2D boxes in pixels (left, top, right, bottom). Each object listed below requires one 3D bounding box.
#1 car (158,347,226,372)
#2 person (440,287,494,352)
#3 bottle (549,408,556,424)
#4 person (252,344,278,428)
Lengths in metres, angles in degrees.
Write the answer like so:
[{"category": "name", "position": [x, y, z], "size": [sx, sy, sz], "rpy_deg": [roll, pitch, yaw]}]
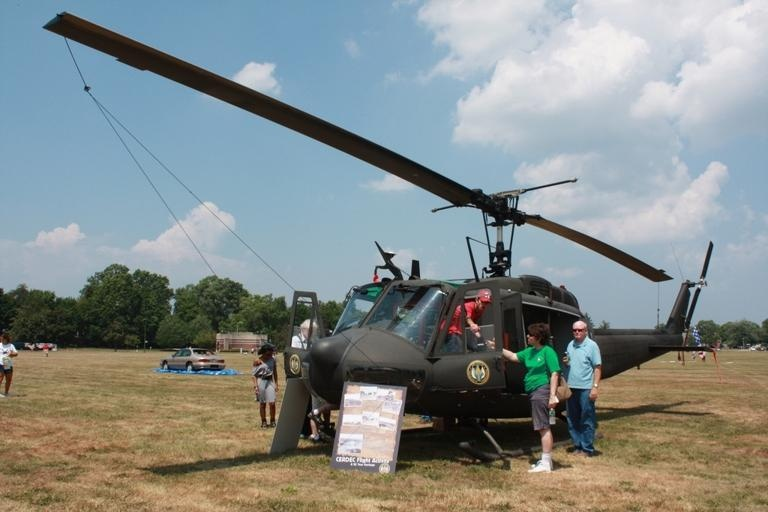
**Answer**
[{"category": "car", "position": [-10.048, 5.407, 30.717], "size": [3.102, 0.936, 1.485], "rpy_deg": [0, -7, 32]}, {"category": "person", "position": [1.595, 1.330, 11.285], "size": [0.722, 1.434, 0.668], "rpy_deg": [-6, -3, 42]}, {"category": "bottle", "position": [3.072, 2.885, 10.618], "size": [0.091, 0.282, 0.244], "rpy_deg": [2, -12, 9]}, {"category": "person", "position": [-2.833, 3.054, 13.894], "size": [0.619, 1.898, 0.609], "rpy_deg": [-3, -6, 0]}]
